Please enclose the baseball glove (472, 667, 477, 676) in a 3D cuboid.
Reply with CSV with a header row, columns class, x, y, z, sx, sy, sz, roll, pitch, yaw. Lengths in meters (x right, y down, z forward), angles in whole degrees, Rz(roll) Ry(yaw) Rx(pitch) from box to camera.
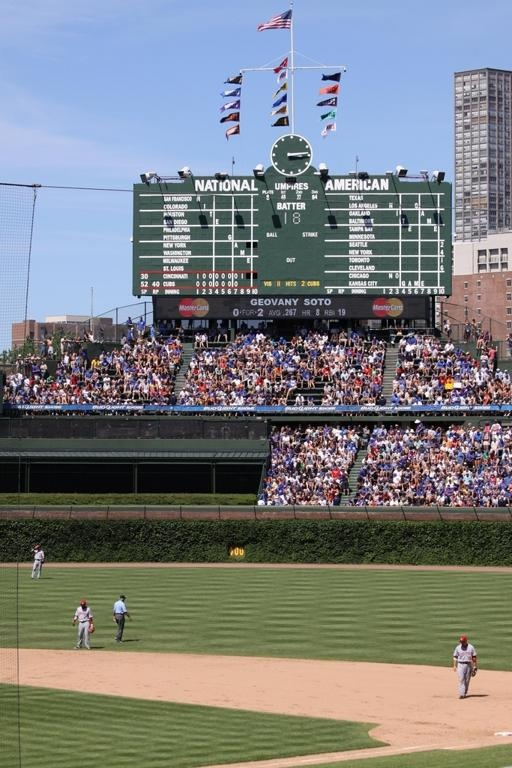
class,x,y,z,sx,sy,sz,roll,pitch,yaw
baseball glove,5.979,7.853,52.952,0.174,0.154,0.297,2,24,6
